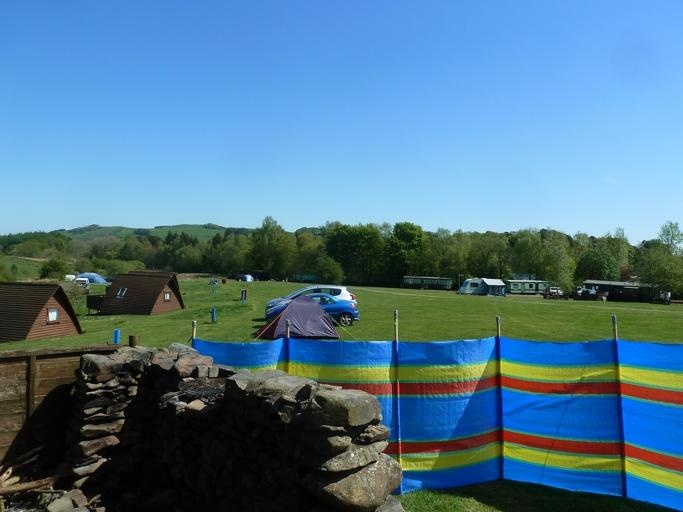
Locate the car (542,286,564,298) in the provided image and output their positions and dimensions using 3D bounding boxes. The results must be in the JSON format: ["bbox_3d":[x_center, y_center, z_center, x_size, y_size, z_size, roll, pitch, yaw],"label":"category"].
[{"bbox_3d":[25.662,4.303,69.893,1.763,1.326,2.856,-1,-7,-4],"label":"car"}]

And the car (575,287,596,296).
[{"bbox_3d":[28.668,4.125,67.810,1.375,0.817,1.808,3,3,27],"label":"car"}]

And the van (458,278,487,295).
[{"bbox_3d":[16.055,3.654,71.061,2.665,1.248,2.033,-1,1,-10],"label":"van"}]

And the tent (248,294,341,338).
[{"bbox_3d":[-1.725,2.713,24.084,2.678,1.130,2.545,1,-2,-13],"label":"tent"}]

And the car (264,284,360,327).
[{"bbox_3d":[-1.216,2.562,30.520,4.094,1.588,2.250,2,-3,-5],"label":"car"}]
